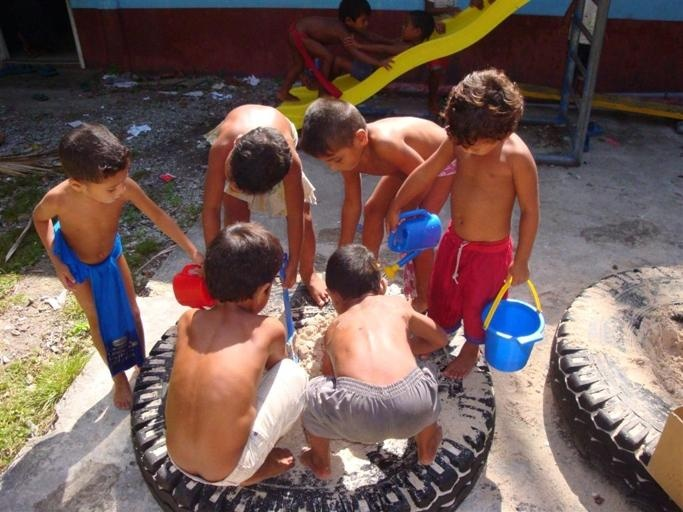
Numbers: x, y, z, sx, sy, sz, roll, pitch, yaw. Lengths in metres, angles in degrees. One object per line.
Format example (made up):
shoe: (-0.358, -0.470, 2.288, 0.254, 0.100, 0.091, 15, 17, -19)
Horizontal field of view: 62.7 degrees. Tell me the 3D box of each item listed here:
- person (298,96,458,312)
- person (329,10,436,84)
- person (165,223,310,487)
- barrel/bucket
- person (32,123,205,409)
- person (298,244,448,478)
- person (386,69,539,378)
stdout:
person: (0.255, -0.310, 3.576, 1.084, 1.419, 0.631, -7, 37, -3)
person: (0.453, -2.248, 6.053, 1.071, 0.770, 0.800, 7, 31, 7)
person: (-0.519, 0.472, 2.609, 0.714, 0.989, 0.609, -19, 36, -32)
barrel/bucket: (0.926, 0.344, 3.036, 0.308, 0.536, 0.377, 8, 33, 11)
person: (-1.184, 0.076, 3.172, 0.911, 1.645, 0.506, 7, 36, 3)
person: (0.161, 0.503, 2.886, 0.727, 1.166, 0.622, -3, 3, -4)
person: (0.708, -0.146, 3.230, 0.687, 1.849, 0.531, 19, 34, 28)
